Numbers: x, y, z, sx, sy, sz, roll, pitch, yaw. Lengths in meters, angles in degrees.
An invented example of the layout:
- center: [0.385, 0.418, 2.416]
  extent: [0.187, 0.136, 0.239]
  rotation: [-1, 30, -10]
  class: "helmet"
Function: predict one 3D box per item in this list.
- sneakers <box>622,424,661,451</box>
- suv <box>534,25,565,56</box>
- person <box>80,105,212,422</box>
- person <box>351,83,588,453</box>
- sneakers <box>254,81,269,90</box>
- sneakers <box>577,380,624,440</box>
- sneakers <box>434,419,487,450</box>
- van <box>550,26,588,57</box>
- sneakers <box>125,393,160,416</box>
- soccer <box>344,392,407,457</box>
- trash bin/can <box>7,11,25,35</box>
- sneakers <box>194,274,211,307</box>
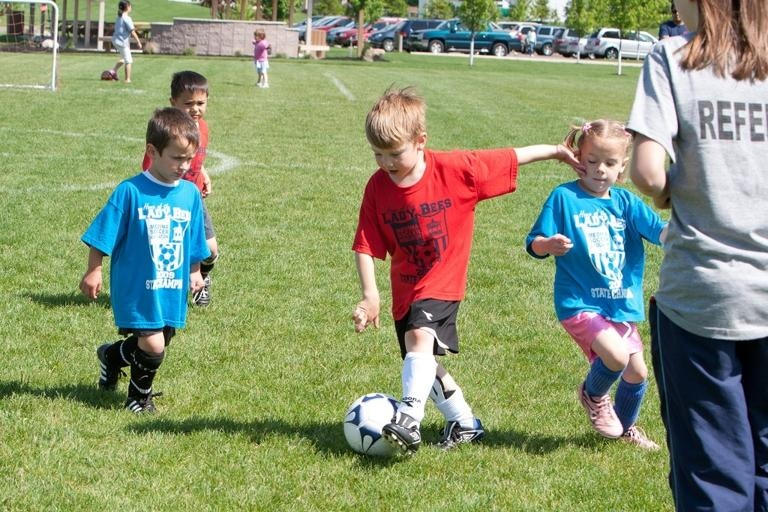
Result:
- center: [1.615, 1.169, 5.410]
  extent: [0.251, 0.097, 0.107]
  rotation: [16, 28, 28]
  class: "sneakers"
- center: [9.300, -12.331, 48.625]
  extent: [2.190, 1.107, 1.241]
  rotation: [-9, 18, -10]
  class: "suv"
- center: [-1.541, 0.029, 5.516]
  extent: [0.784, 1.942, 0.486]
  rotation: [0, 13, -15]
  class: "person"
- center: [0.230, 0.094, 5.197]
  extent: [0.758, 2.155, 1.068]
  rotation: [15, 17, 42]
  class: "person"
- center: [-3.151, -4.466, 22.120]
  extent: [0.189, 0.236, 0.554]
  rotation: [-3, 1, -18]
  class: "sneakers"
- center: [1.361, 1.010, 5.385]
  extent: [0.163, 0.444, 0.179]
  rotation: [-29, -8, -5]
  class: "sneakers"
- center: [0.473, 1.103, 5.356]
  extent: [0.369, 0.178, 0.124]
  rotation: [-12, 14, -9]
  class: "sneakers"
- center: [10.299, -11.963, 47.467]
  extent: [2.803, 1.414, 1.585]
  rotation: [-10, 19, -19]
  class: "van"
- center: [-1.564, 0.985, 5.605]
  extent: [0.249, 0.172, 0.103]
  rotation: [0, 4, -7]
  class: "sneakers"
- center: [-0.047, 1.035, 5.183]
  extent: [0.348, 0.332, 0.347]
  rotation: [7, -5, -1]
  class: "soccer"
- center: [-13.386, -8.507, 30.909]
  extent: [0.590, 0.888, 2.456]
  rotation: [-1, 14, -22]
  class: "trash bin/can"
- center: [-1.445, 0.287, 6.743]
  extent: [0.097, 0.288, 0.130]
  rotation: [2, -25, -37]
  class: "sneakers"
